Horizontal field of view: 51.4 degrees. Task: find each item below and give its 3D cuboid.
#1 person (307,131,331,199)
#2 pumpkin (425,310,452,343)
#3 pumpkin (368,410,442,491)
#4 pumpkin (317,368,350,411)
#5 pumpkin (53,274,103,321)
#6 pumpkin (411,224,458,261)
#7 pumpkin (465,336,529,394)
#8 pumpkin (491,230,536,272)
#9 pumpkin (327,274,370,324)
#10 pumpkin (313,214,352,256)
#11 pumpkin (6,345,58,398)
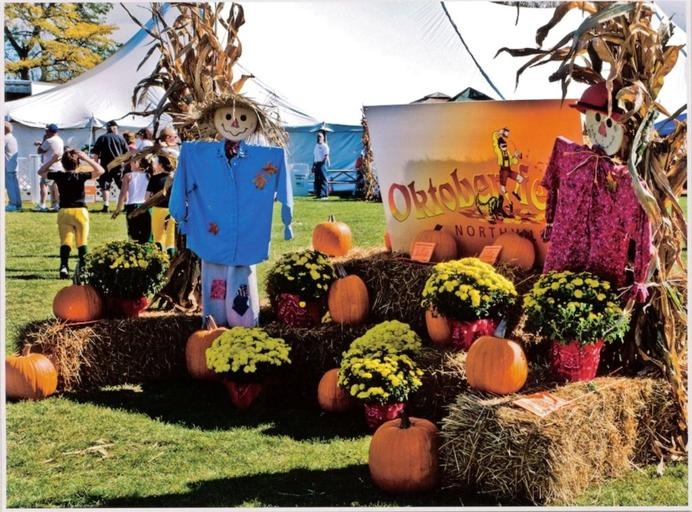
[{"bbox_3d":[-0.648,-2.309,18.331,0.370,1.702,0.708,-1,15,-4],"label":"person"},{"bbox_3d":[0.778,0.613,6.069,0.105,0.270,0.326,-11,18,-35],"label":"pumpkin"},{"bbox_3d":[0.433,1.382,5.262,0.481,0.482,0.492,-4,0,4],"label":"pumpkin"},{"bbox_3d":[-0.121,1.160,6.240,0.308,0.366,0.335,1,-2,0],"label":"pumpkin"},{"bbox_3d":[-2.549,0.442,6.824,0.465,0.444,0.472,0,1,-32],"label":"pumpkin"},{"bbox_3d":[0.857,-0.117,6.839,0.334,0.322,0.334,7,-8,34],"label":"pumpkin"},{"bbox_3d":[1.134,0.767,5.386,0.398,0.406,0.400,3,7,-23],"label":"pumpkin"},{"bbox_3d":[1.539,0.019,6.513,0.335,0.316,0.338,23,16,-28],"label":"pumpkin"},{"bbox_3d":[-0.033,0.408,6.594,0.384,0.474,0.392,0,-3,-5],"label":"pumpkin"},{"bbox_3d":[-0.124,-0.212,7.472,0.384,0.472,0.390,-1,1,-7],"label":"pumpkin"},{"bbox_3d":[-2.701,0.988,6.164,0.411,0.409,0.419,-2,-4,19],"label":"pumpkin"}]
